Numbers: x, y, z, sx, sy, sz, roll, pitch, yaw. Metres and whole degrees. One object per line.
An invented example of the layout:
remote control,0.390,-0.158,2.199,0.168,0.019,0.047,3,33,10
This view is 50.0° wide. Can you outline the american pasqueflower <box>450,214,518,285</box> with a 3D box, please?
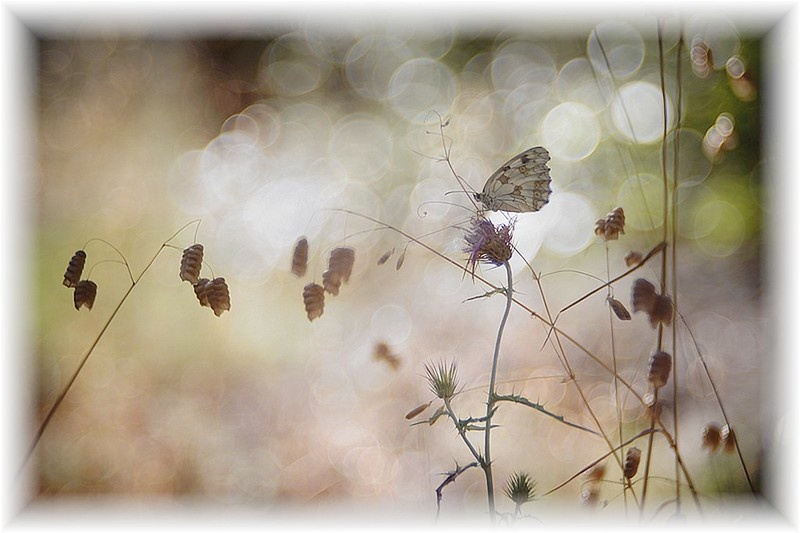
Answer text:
american pasqueflower,0.254,-0.069,2.541,0.146,0.207,0.148,2,-81,-1
